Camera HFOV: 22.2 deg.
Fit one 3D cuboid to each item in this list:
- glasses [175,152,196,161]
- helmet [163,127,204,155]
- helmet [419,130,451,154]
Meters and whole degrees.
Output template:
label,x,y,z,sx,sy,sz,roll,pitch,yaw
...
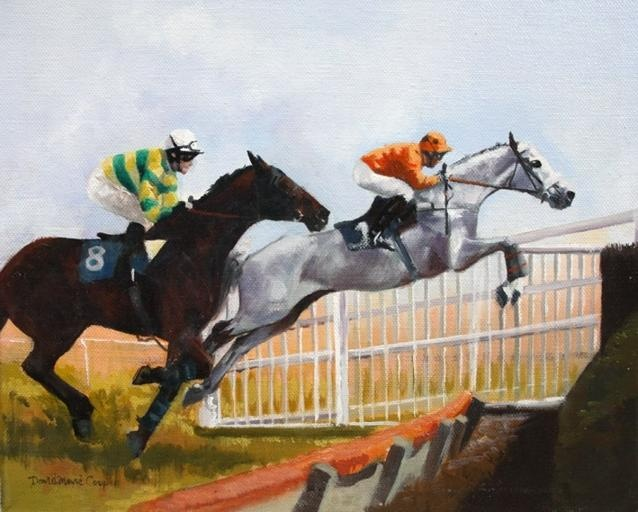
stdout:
label,x,y,z,sx,sy,sz,roll,pitch,yaw
glasses,-0.789,-0.581,9.664,0.081,0.040,0.061,7,-4,19
helmet,-0.807,-0.666,9.657,0.204,0.114,0.138,2,5,-1
helmet,0.683,-0.665,9.653,0.167,0.084,0.118,-1,24,6
